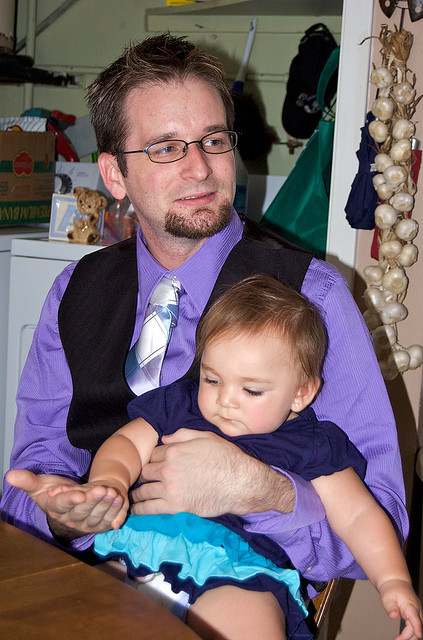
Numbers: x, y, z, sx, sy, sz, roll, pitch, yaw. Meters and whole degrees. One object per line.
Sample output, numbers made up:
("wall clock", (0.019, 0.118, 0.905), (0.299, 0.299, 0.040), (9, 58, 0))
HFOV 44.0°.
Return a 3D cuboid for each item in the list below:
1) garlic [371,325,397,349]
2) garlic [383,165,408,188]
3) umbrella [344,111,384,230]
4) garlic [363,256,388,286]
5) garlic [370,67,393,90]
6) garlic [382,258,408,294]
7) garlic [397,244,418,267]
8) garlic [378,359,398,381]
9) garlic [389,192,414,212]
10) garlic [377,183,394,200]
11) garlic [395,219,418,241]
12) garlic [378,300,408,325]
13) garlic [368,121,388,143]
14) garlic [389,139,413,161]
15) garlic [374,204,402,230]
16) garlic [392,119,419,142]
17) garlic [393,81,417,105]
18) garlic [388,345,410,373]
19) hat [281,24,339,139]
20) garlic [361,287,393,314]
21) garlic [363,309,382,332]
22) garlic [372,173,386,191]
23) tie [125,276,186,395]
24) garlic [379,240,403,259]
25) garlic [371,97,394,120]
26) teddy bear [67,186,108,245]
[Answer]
("garlic", (0.418, 0.039, 1.271), (0.060, 0.056, 0.032), (6, 2, 12))
("garlic", (0.412, -0.328, 1.185), (0.049, 0.046, 0.026), (-3, -3, 16))
("umbrella", (0.363, -0.358, 1.305), (0.104, 0.246, 0.060), (4, 15, 0))
("garlic", (0.393, -0.122, 1.270), (0.041, 0.032, 0.083), (22, 42, 29))
("garlic", (0.394, -0.568, 1.235), (0.054, 0.048, 0.037), (0, 1, 33))
("garlic", (0.435, -0.106, 1.256), (0.041, 0.049, 0.075), (37, 31, -36))
("garlic", (0.465, -0.155, 1.251), (0.026, 0.052, 0.043), (8, 11, 23))
("garlic", (0.428, 0.123, 1.277), (0.041, 0.064, 0.028), (-6, -5, 7))
("garlic", (0.435, -0.273, 1.209), (0.045, 0.024, 0.044), (31, -45, -24))
("garlic", (0.404, -0.302, 1.230), (0.032, 0.034, 0.038), (3, 18, 18))
("garlic", (0.451, -0.211, 1.223), (0.048, 0.046, 0.026), (-22, 14, -23))
("garlic", (0.432, -0.016, 1.256), (0.056, 0.055, 0.029), (34, -15, 43))
("garlic", (0.384, -0.439, 1.227), (0.023, 0.042, 0.045), (-15, 25, -30))
("garlic", (0.428, -0.385, 1.190), (0.042, 0.047, 0.026), (3, -26, 4))
("garlic", (0.400, -0.240, 1.214), (0.053, 0.051, 0.073), (5, -2, 31))
("garlic", (0.437, -0.433, 1.205), (0.047, 0.055, 0.040), (0, 1, 18))
("garlic", (0.439, -0.522, 1.204), (0.042, 0.049, 0.021), (-9, 19, 2))
("garlic", (0.447, 0.098, 1.262), (0.048, 0.053, 0.049), (-5, -7, 12))
("hat", (0.443, -1.110, 2.459), (0.183, 0.456, 0.382), (0, 1, -4))
("garlic", (0.394, -0.045, 1.271), (0.047, 0.062, 0.074), (-14, -22, 24))
("garlic", (0.384, 0.004, 1.294), (0.034, 0.054, 0.041), (6, 46, -30))
("garlic", (0.395, -0.325, 1.251), (0.032, 0.040, 0.032), (-6, 31, 32))
("tie", (-0.084, 0.021, 1.002), (0.091, 0.229, 0.064), (16, -20, 7))
("garlic", (0.419, -0.168, 1.237), (0.035, 0.034, 0.044), (-7, -8, -14))
("garlic", (0.391, -0.486, 1.209), (0.047, 0.052, 0.029), (17, 9, 22))
("teddy bear", (-0.412, -0.345, 1.744), (0.122, 0.194, 0.074), (13, 16, 8))
